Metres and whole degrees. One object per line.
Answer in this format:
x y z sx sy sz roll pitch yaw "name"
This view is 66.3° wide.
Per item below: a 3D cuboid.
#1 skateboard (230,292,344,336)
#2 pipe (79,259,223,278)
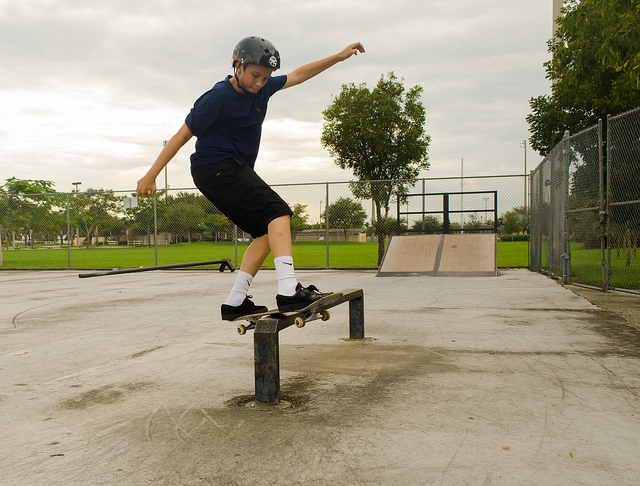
-0.289 0.546 3.504 1.001 0.179 0.302 -9 -3 35 "skateboard"
-4.047 0.621 11.839 3.639 0.277 0.396 -2 -13 -39 "pipe"
